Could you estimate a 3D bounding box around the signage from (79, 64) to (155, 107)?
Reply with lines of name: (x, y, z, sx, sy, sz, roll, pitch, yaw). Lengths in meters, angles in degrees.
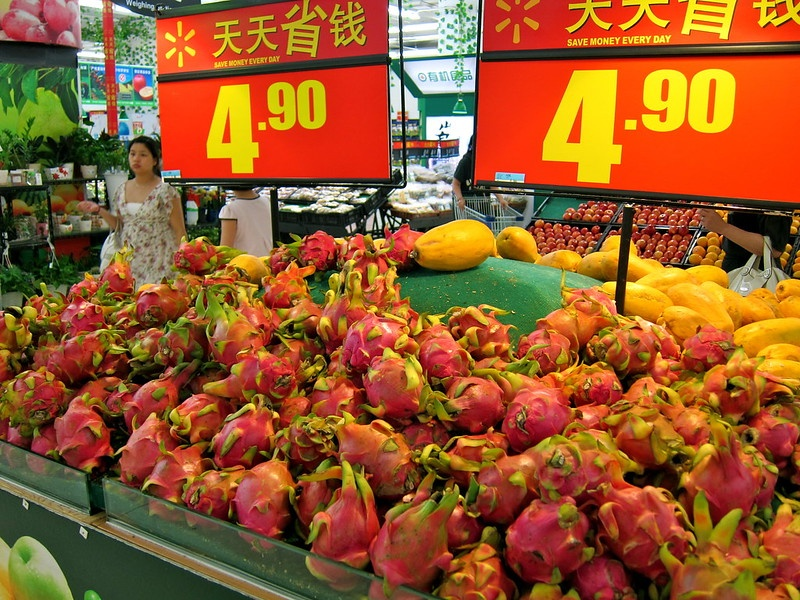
signage: (-6.184, -4.744, 12.380, 1.543, 0.945, 0.070, -2, -3, -14)
